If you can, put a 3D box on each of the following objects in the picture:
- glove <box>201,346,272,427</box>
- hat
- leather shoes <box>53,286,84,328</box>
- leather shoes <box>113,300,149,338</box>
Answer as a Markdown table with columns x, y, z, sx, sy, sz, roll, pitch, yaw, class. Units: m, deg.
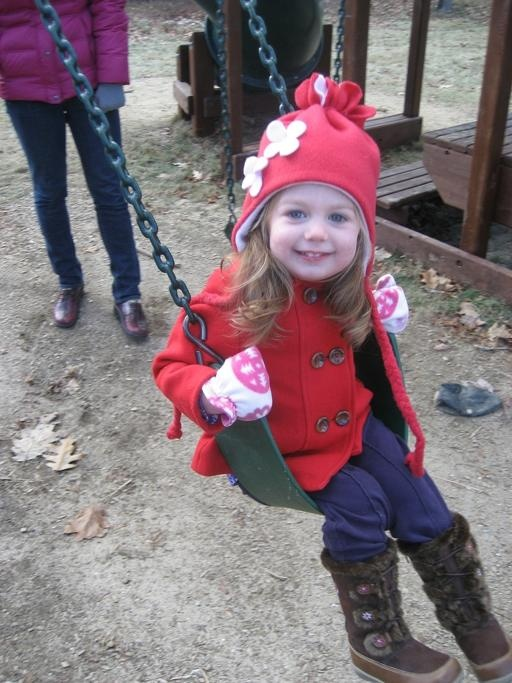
| x | y | z | sx | sy | sz | roll | pitch | yaw | class |
| --- | --- | --- | --- | --- | --- | --- | --- | --- | --- |
| -0.026 | 0.096 | 1.155 | 0.124 | 0.086 | 0.156 | -13 | 34 | -20 | glove |
| 0.140 | -0.352 | 1.333 | 0.384 | 0.439 | 0.361 | 3 | -10 | 6 | hat |
| -0.923 | -0.172 | 3.045 | 0.098 | 0.098 | 0.267 | 5 | 30 | -1 | leather shoes |
| -0.599 | -0.099 | 2.943 | 0.107 | 0.106 | 0.247 | -12 | 47 | -36 | leather shoes |
